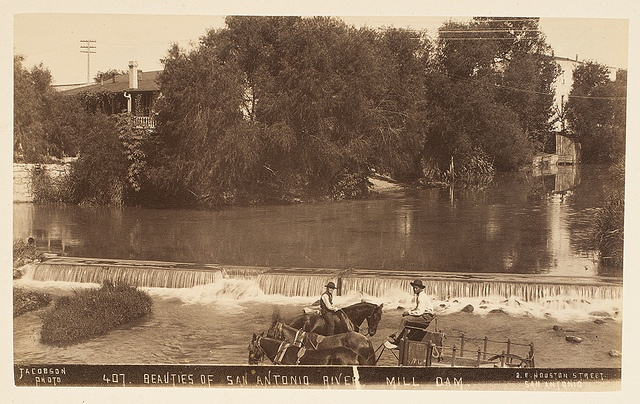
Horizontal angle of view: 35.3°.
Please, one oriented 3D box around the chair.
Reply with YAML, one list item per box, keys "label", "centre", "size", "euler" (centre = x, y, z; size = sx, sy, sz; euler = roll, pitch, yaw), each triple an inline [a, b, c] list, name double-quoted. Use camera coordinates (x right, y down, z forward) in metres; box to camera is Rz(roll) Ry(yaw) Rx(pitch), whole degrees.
- label: "chair"
  centre: [2.734, 4.179, 29.277]
  size: [1.722, 1.057, 0.935]
  euler: [-15, 24, -40]
